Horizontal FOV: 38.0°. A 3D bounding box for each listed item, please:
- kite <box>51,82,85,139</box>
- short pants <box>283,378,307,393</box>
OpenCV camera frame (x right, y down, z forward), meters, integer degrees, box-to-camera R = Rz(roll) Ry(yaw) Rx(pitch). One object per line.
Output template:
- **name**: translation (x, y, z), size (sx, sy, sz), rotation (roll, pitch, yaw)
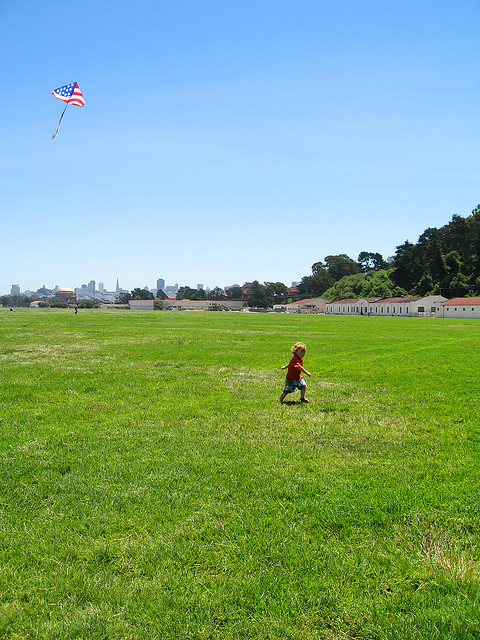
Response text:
- **kite**: translation (-6.603, -7.842, 26.299), size (1.344, 0.229, 2.932), rotation (-7, -30, -39)
- **short pants**: translation (1.155, 1.386, 14.861), size (0.436, 0.370, 0.451), rotation (0, 6, 2)
